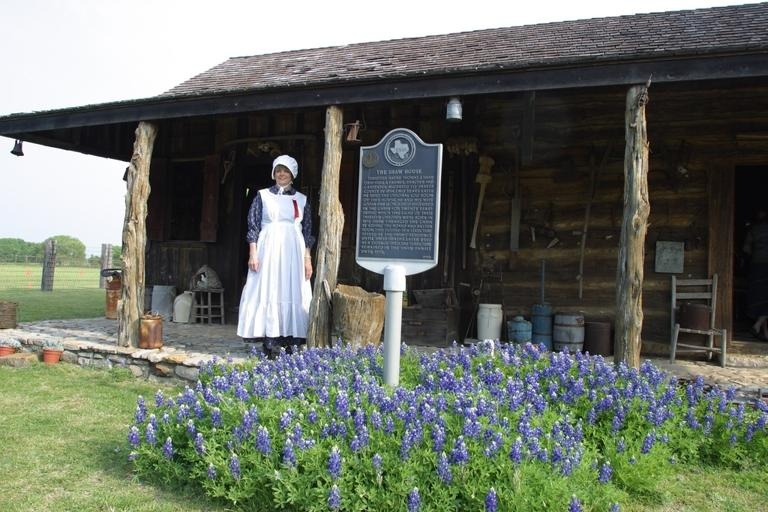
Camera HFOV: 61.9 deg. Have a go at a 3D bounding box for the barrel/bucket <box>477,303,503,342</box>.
[{"bbox_3d":[1.773,1.086,10.677,0.429,0.610,0.373,2,-5,9],"label":"barrel/bucket"}]

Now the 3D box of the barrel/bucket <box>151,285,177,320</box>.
[{"bbox_3d":[-4.378,0.904,12.672,0.520,0.686,0.397,3,-5,-5],"label":"barrel/bucket"}]

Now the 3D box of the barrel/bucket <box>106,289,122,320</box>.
[{"bbox_3d":[-5.355,0.938,12.658,0.207,0.598,0.507,5,-5,-26],"label":"barrel/bucket"}]

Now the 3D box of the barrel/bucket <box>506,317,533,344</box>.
[{"bbox_3d":[2.191,1.204,10.623,0.412,0.443,0.419,1,1,0],"label":"barrel/bucket"}]

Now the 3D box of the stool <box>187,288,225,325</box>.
[{"bbox_3d":[-3.382,0.964,12.499,0.661,0.753,0.648,-3,-4,36],"label":"stool"}]

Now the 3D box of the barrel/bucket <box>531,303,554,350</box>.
[{"bbox_3d":[2.608,1.146,10.537,0.362,0.735,0.257,2,-5,15],"label":"barrel/bucket"}]

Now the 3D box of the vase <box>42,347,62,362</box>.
[{"bbox_3d":[-5.071,1.496,9.807,0.228,0.173,0.221,1,-10,-2],"label":"vase"}]

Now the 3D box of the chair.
[{"bbox_3d":[4.772,1.003,9.751,0.951,1.285,0.980,1,3,-23],"label":"chair"}]

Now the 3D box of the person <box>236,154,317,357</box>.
[{"bbox_3d":[-1.472,-0.033,9.021,0.979,2.717,0.439,3,-5,-7],"label":"person"}]

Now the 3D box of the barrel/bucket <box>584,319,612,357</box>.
[{"bbox_3d":[3.483,1.307,10.279,0.473,0.558,0.220,3,-5,-3],"label":"barrel/bucket"}]

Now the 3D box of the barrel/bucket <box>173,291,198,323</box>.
[{"bbox_3d":[-3.861,0.970,12.385,0.508,0.607,0.271,-2,-6,45],"label":"barrel/bucket"}]

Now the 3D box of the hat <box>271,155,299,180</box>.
[{"bbox_3d":[-1.421,-1.241,9.203,0.368,0.386,0.510,1,18,4],"label":"hat"}]

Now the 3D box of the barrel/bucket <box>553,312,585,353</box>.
[{"bbox_3d":[2.956,1.221,10.187,0.517,0.706,0.497,1,-8,0],"label":"barrel/bucket"}]
